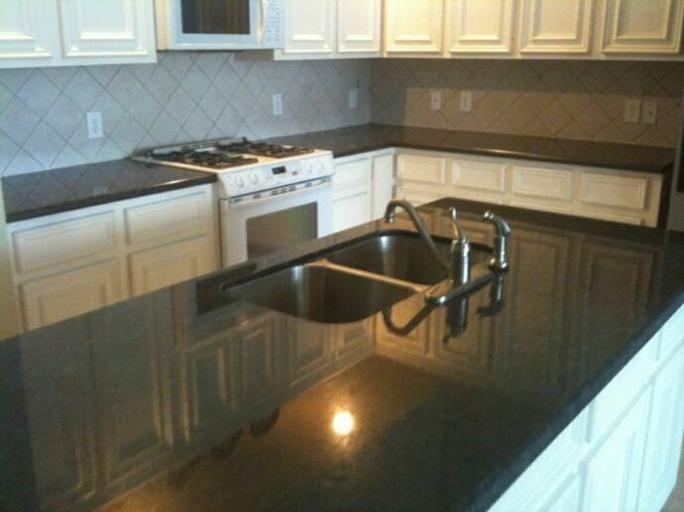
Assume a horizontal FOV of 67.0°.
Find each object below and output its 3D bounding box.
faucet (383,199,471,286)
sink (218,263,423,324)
[{"bbox_3d":[0.236,-0.072,1.485,0.058,0.207,0.309,-27,38,-32],"label":"faucet"},{"bbox_3d":[-0.143,0.113,1.754,0.453,0.181,0.534,6,0,33],"label":"sink"}]
